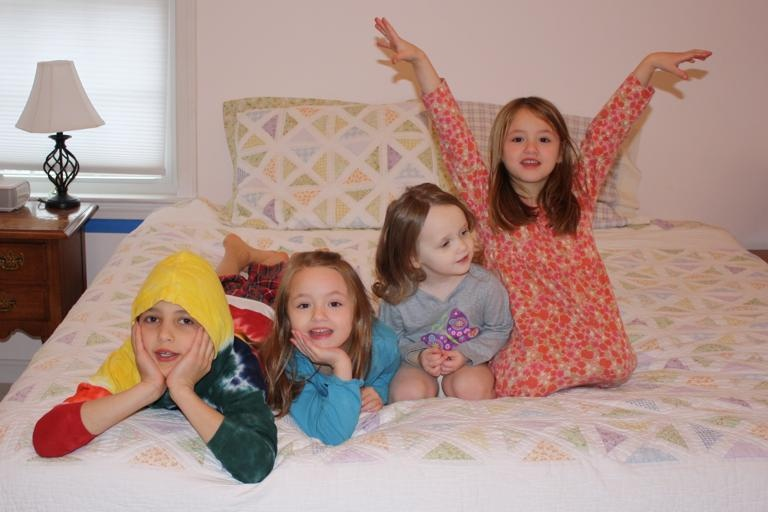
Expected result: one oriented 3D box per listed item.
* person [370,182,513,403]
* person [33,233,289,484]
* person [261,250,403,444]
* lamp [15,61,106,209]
[{"bbox_3d":[0.194,0.215,1.876,0.489,0.797,0.620,-5,20,-1],"label":"person"},{"bbox_3d":[-0.567,0.200,1.700,0.581,0.359,0.883,7,21,-9],"label":"person"},{"bbox_3d":[-0.175,0.235,1.812,0.466,0.463,0.802,-5,10,-13],"label":"person"},{"bbox_3d":[-1.504,-0.571,2.718,0.329,0.633,0.449,-15,27,-34],"label":"lamp"}]
